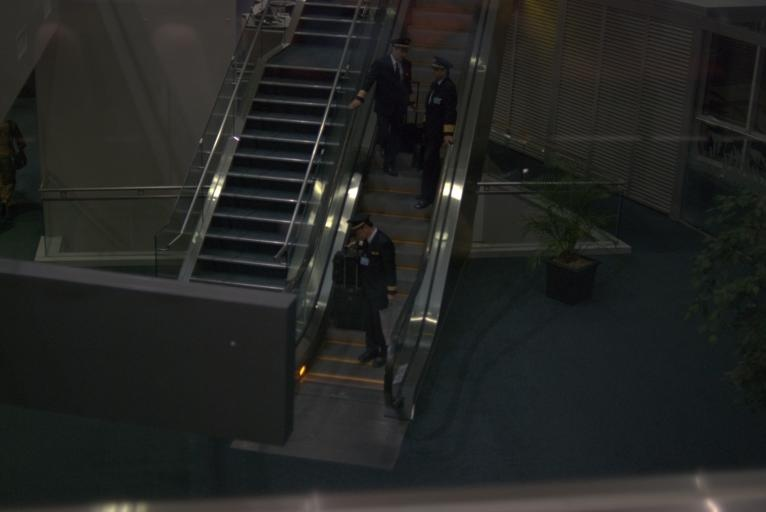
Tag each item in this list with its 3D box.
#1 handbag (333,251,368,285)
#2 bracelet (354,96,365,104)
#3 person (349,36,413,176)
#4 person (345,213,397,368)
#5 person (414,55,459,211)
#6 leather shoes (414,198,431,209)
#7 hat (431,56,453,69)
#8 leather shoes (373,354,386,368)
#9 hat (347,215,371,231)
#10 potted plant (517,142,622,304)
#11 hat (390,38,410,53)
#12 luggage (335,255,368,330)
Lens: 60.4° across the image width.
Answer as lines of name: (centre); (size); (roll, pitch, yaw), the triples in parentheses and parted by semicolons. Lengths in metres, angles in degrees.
handbag: (-0.391, 0.195, 8.853); (0.436, 0.505, 0.395); (-2, -10, 20)
bracelet: (-0.358, -2.392, 10.125); (0.129, 0.094, 0.128); (-3, 7, -35)
person: (0.032, -2.345, 10.427); (0.740, 2.076, 0.502); (7, 24, 0)
person: (-0.167, 0.468, 8.772); (0.683, 1.950, 0.432); (11, 24, 11)
person: (0.846, -1.849, 10.131); (0.461, 2.191, 0.646); (7, 24, 2)
leather shoes: (0.609, -0.820, 10.300); (0.299, 0.126, 0.112); (-2, 50, -26)
hat: (0.904, -2.931, 10.017); (0.254, 0.142, 0.338); (18, 27, 22)
leather shoes: (-0.041, 1.441, 8.956); (0.104, 0.130, 0.187); (3, 1, 41)
hat: (-0.284, -0.423, 8.577); (0.298, 0.213, 0.184); (10, 25, 6)
potted plant: (3.085, -0.312, 10.432); (1.445, 2.128, 1.561); (-7, 9, -34)
hat: (0.288, -3.272, 10.231); (0.260, 0.187, 0.302); (20, 28, 26)
luggage: (-0.413, 0.452, 8.921); (0.475, 0.900, 0.539); (4, 47, 5)
